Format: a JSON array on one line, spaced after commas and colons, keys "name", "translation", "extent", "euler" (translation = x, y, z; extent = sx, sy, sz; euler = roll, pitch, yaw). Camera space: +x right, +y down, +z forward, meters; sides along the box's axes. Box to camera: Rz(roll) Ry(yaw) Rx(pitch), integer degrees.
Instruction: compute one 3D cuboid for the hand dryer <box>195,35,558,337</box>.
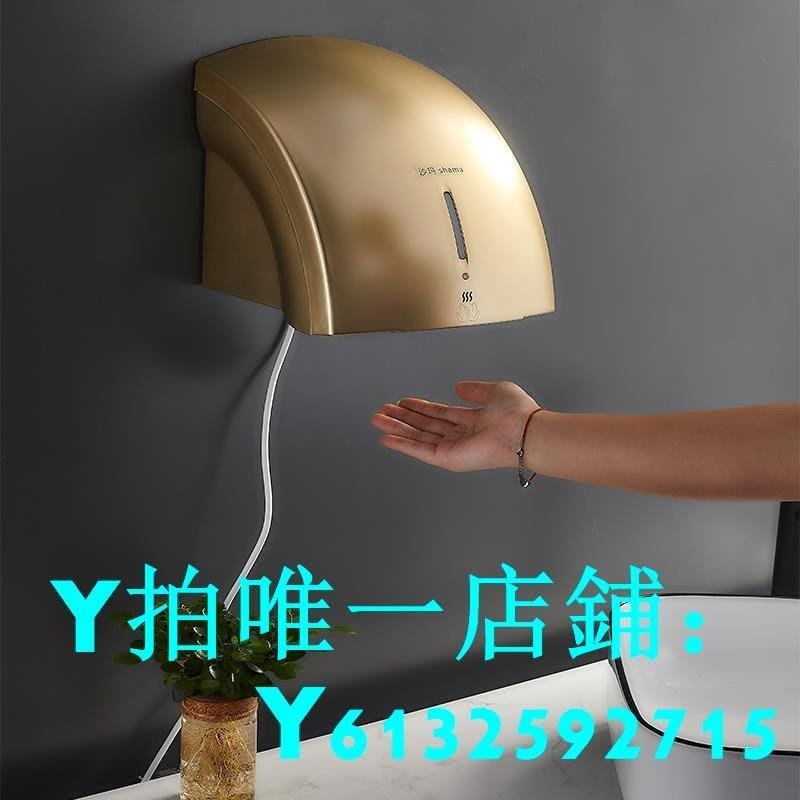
[{"name": "hand dryer", "translation": [-0.034, -0.245, 0.880], "extent": [0.340, 0.300, 0.362], "euler": [13, 20, 40]}]
